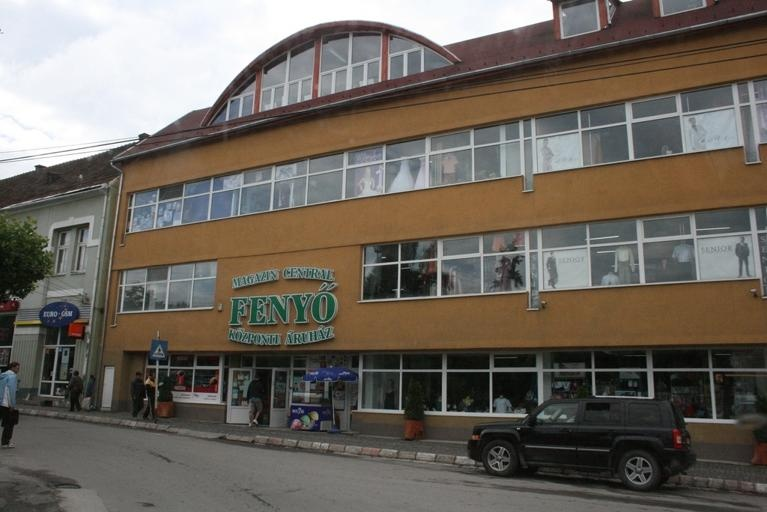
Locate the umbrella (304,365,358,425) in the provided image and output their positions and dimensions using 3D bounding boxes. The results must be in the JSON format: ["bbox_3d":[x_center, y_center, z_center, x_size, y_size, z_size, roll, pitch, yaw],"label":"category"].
[{"bbox_3d":[-2.102,6.117,26.050,1.964,2.533,2.094,-5,-14,24],"label":"umbrella"}]

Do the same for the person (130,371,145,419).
[{"bbox_3d":[-12.133,6.803,29.204,0.651,2.126,1.345,6,-14,-23],"label":"person"}]

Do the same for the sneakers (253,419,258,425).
[{"bbox_3d":[-5.942,7.619,27.313,0.197,0.242,0.495,1,-13,-3],"label":"sneakers"}]

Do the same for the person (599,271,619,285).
[{"bbox_3d":[8.378,0.820,22.074,0.737,0.666,0.456,0,1,34],"label":"person"}]

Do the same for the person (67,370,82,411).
[{"bbox_3d":[-16.412,7.178,31.598,0.676,2.107,1.450,7,-14,-26],"label":"person"}]

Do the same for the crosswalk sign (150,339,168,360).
[{"bbox_3d":[-10.319,4.265,27.227,0.674,0.817,0.365,10,-16,-35],"label":"crosswalk sign"}]

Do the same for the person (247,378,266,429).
[{"bbox_3d":[-5.977,6.773,27.762,0.733,2.284,1.373,3,-13,-11],"label":"person"}]
